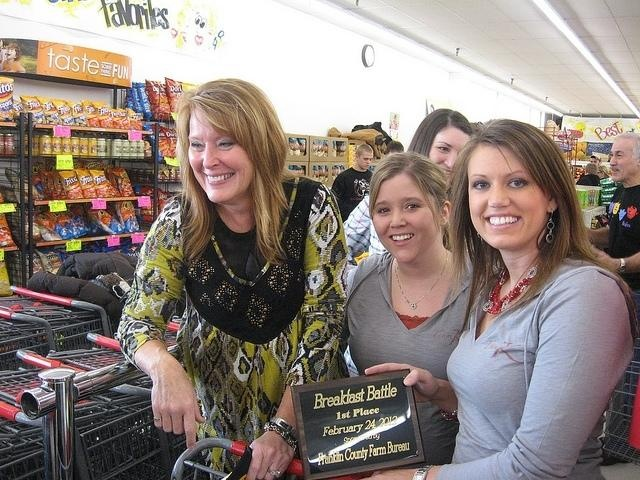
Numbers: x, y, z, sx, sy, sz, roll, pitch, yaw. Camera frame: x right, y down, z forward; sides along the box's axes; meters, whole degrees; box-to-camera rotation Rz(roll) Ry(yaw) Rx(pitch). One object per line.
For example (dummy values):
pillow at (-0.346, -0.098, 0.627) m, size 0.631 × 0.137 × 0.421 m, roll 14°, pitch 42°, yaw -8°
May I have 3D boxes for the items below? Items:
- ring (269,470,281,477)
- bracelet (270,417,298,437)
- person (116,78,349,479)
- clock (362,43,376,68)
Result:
ring at (-0.124, 0.635, 1.226) m, size 0.021 × 0.011 × 0.026 m, roll 2°, pitch -9°, yaw -7°
bracelet at (-0.106, 0.538, 1.329) m, size 0.071 × 0.043 × 0.067 m, roll 12°, pitch -20°, yaw 20°
person at (-0.293, 0.112, 1.432) m, size 0.746 × 1.226 × 0.476 m, roll 0°, pitch 9°, yaw 3°
clock at (1.105, -4.186, 10.246) m, size 0.122 × 0.472 × 0.495 m, roll 4°, pitch 3°, yaw 24°
